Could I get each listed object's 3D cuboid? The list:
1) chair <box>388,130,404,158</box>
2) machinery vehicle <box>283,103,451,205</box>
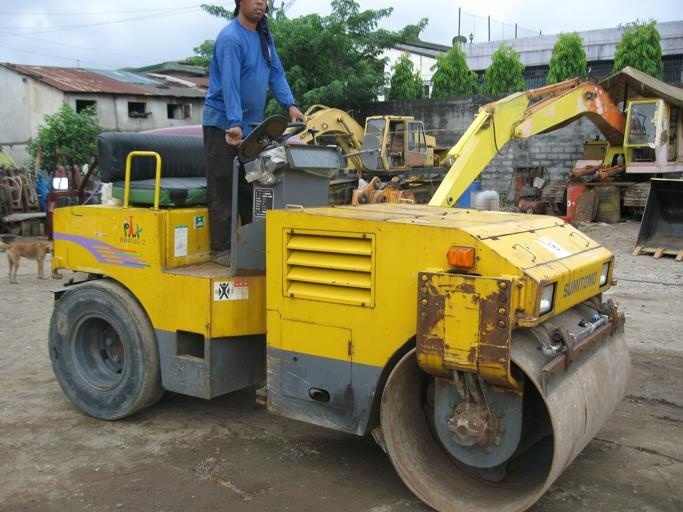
[{"bbox_3d":[1.649,-3.356,17.358,0.376,0.872,0.243,3,7,21],"label":"chair"},{"bbox_3d":[0.899,-2.998,17.551,5.252,3.101,2.181,-5,4,-29],"label":"machinery vehicle"}]
